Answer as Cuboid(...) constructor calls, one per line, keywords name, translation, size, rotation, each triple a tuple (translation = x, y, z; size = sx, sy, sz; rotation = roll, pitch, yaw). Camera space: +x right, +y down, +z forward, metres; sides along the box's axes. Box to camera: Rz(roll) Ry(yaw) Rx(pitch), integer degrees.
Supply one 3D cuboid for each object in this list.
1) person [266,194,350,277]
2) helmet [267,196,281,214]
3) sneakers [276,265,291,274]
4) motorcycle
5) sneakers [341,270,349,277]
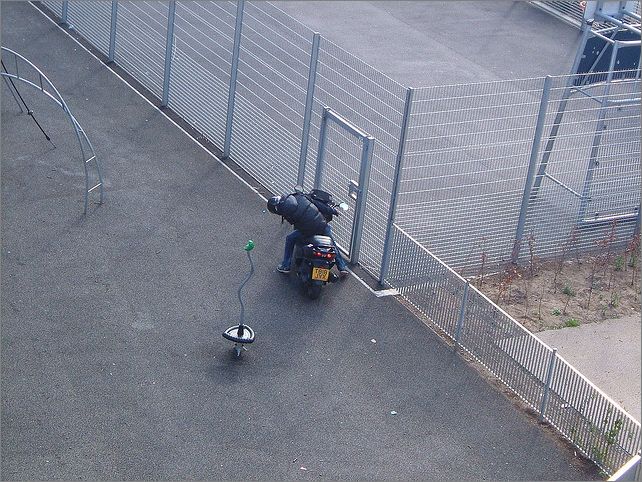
Cuboid(name="person", translation=(-0.142, -0.181, 15.433), size=(1.092, 1.907, 0.920), rotation=(-2, 52, 10))
Cuboid(name="helmet", translation=(-0.773, -0.573, 15.026), size=(0.268, 0.280, 0.219), rotation=(1, 12, -6))
Cuboid(name="sneakers", translation=(-0.633, 0.462, 15.437), size=(0.213, 0.113, 0.100), rotation=(30, 32, 28))
Cuboid(name="motorcycle", translation=(-0.076, -0.024, 15.587), size=(0.995, 1.599, 2.192), rotation=(11, 15, -11))
Cuboid(name="sneakers", translation=(0.393, 0.533, 15.604), size=(0.064, 0.146, 0.087), rotation=(8, 61, -1))
